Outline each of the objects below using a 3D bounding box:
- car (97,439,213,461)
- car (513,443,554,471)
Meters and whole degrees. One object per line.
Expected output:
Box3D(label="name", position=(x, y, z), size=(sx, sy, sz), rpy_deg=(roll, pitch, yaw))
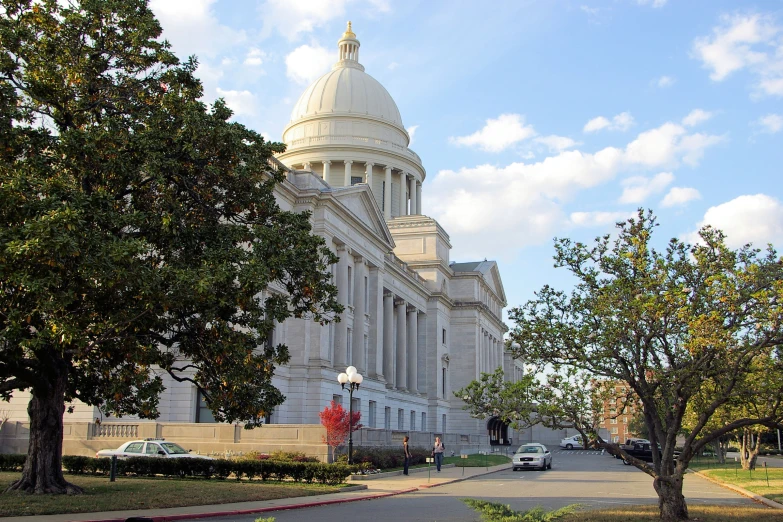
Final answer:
Box3D(label="car", position=(-10.569, 8.293, 43.337), size=(5.364, 1.052, 2.310), rpy_deg=(-6, -17, 22))
Box3D(label="car", position=(8.118, 11.352, 56.742), size=(2.177, 1.677, 3.046), rpy_deg=(-2, -16, 7))
